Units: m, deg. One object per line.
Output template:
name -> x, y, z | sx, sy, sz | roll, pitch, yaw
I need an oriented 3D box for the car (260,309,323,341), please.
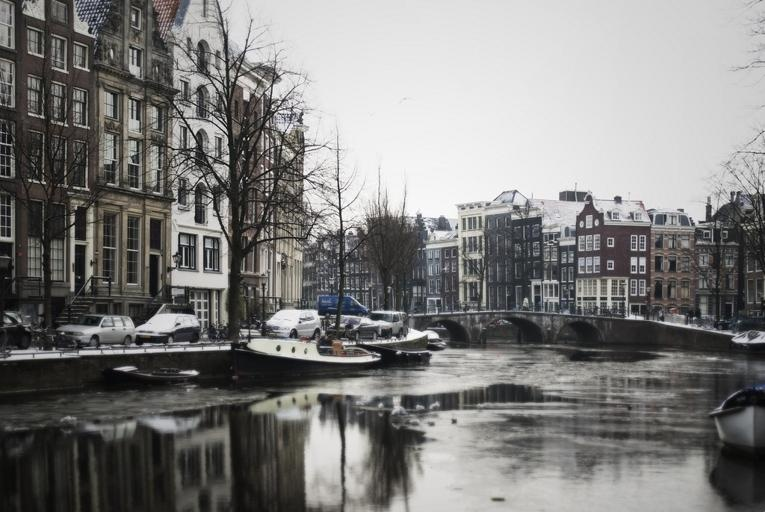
car -> -5.584, 4.173, 69.019 | 2.386, 2.195, 6.373 | -4, -8, 12

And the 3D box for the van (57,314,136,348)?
van -> -15.078, 3.923, 59.688 | 2.332, 1.799, 4.023 | 3, -2, 31

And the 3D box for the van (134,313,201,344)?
van -> -11.887, 4.046, 62.563 | 1.399, 1.747, 4.092 | -6, -8, 30

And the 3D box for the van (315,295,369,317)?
van -> -3.412, 3.770, 87.893 | 3.462, 1.701, 1.757 | -3, -4, 17
